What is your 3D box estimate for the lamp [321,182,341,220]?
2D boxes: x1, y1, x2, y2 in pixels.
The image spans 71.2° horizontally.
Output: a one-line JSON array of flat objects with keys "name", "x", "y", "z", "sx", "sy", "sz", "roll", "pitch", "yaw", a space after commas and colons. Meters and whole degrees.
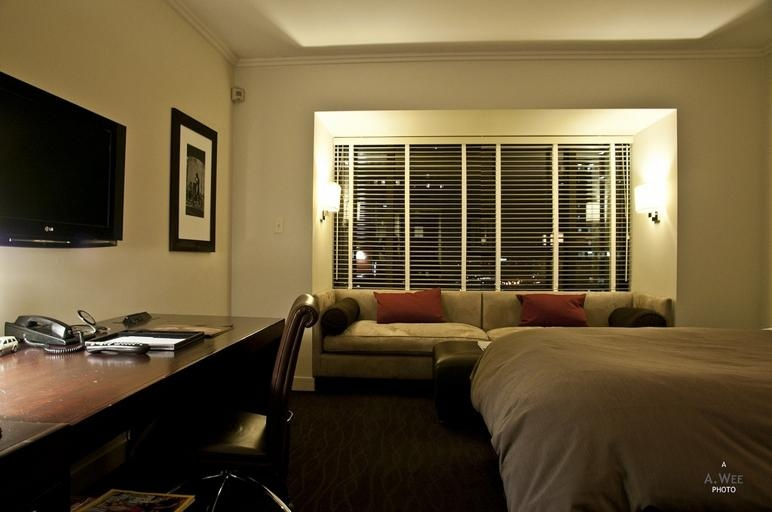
[{"name": "lamp", "x": -0.550, "y": -0.542, "z": 5.412, "sx": 0.161, "sy": 0.392, "sz": 0.244, "roll": 2, "pitch": 13, "yaw": 9}]

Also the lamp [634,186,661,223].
[{"name": "lamp", "x": 2.533, "y": -0.518, "z": 5.263, "sx": 0.170, "sy": 0.387, "sz": 0.324, "roll": 0, "pitch": 13, "yaw": 0}]

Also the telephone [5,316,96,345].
[{"name": "telephone", "x": -1.972, "y": 0.435, "z": 3.166, "sx": 0.324, "sy": 0.106, "sz": 0.238, "roll": 0, "pitch": 0, "yaw": 8}]
